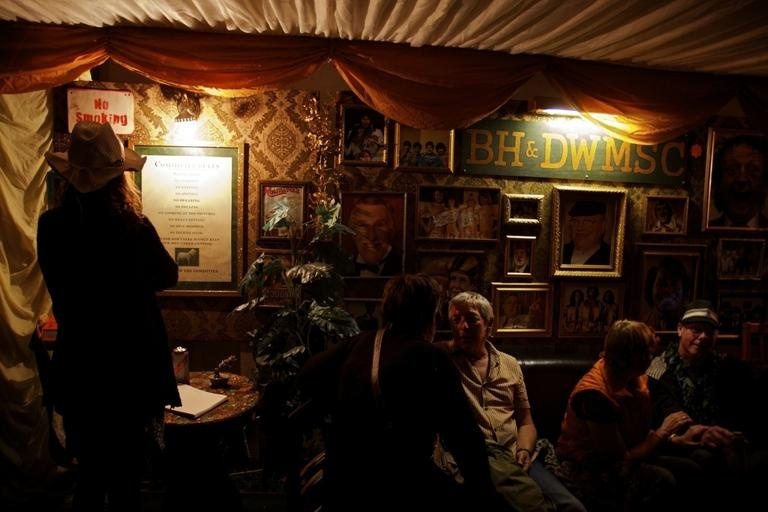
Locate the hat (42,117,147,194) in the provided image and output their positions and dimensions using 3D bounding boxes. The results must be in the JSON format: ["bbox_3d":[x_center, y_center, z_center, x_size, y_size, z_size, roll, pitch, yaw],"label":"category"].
[{"bbox_3d":[-1.837,-0.575,3.981,0.573,0.238,0.580,-9,-10,-16],"label":"hat"}]

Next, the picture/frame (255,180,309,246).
[{"bbox_3d":[-0.854,-0.365,5.224,0.598,0.664,0.076,2,3,-5],"label":"picture/frame"}]

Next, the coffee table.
[{"bbox_3d":[-1.216,1.003,4.463,0.595,0.106,0.547,2,10,1],"label":"coffee table"}]
